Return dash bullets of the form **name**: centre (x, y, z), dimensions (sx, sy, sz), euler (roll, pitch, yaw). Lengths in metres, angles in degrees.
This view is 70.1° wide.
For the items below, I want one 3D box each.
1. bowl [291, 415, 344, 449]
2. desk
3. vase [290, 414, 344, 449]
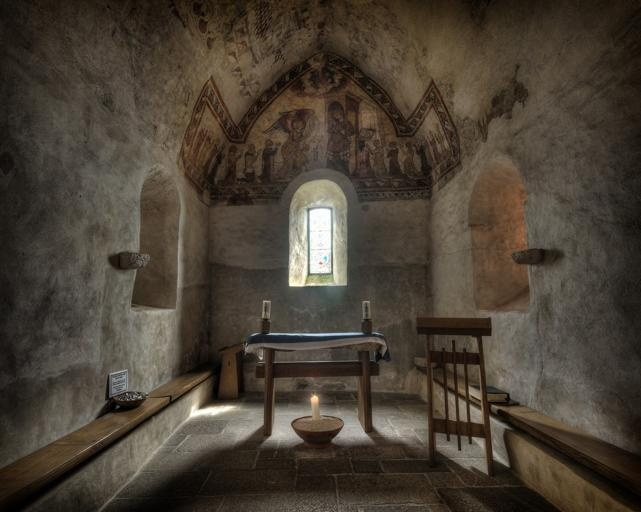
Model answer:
- **bowl**: centre (-0.039, 1.901, 4.922), dimensions (0.530, 0.312, 0.484), euler (0, 0, 0)
- **desk**: centre (-0.062, 1.530, 5.780), dimensions (1.630, 1.292, 1.034), euler (2, 2, -9)
- **vase**: centre (-0.037, 1.901, 4.920), dimensions (0.525, 0.312, 0.478), euler (0, 0, 2)
